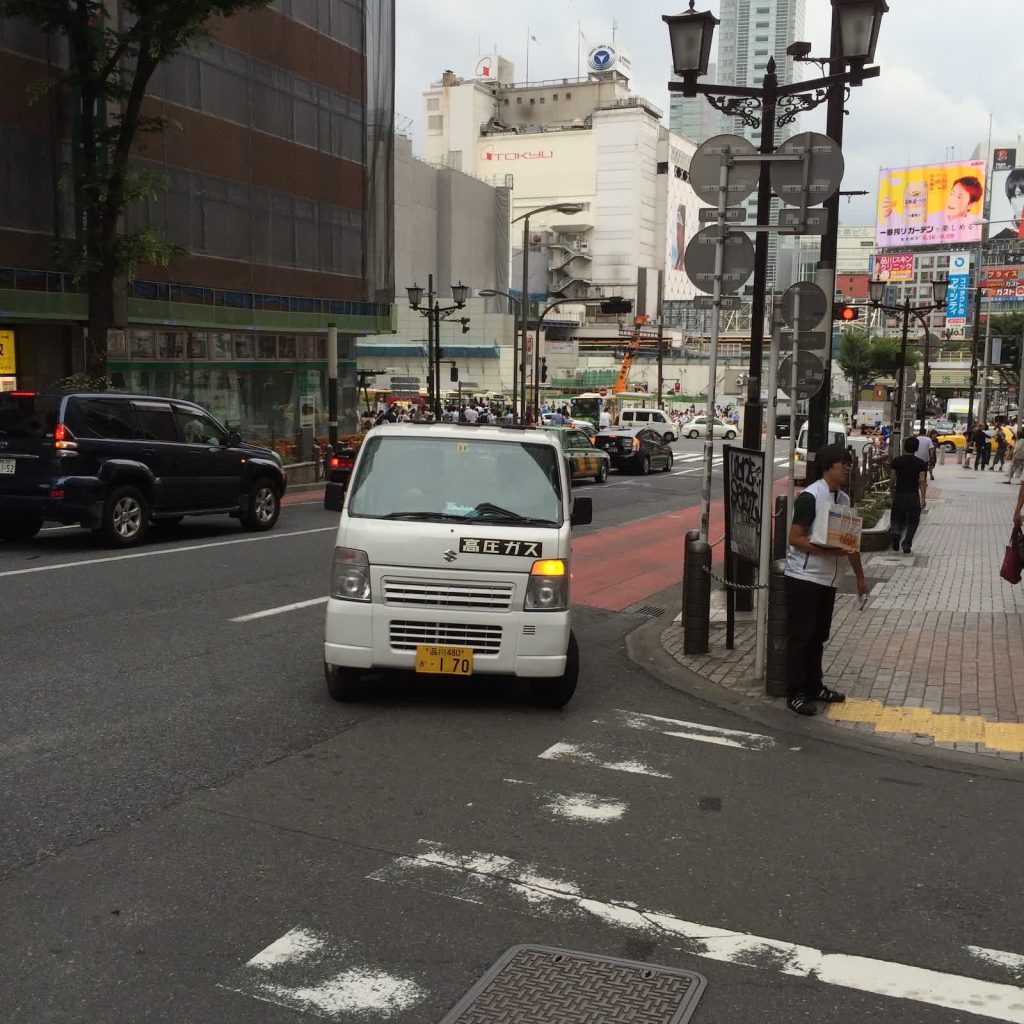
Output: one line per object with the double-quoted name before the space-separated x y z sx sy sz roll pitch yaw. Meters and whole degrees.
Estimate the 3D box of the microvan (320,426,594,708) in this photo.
"microvan" -0.407 0.374 8.176 1.108 1.582 2.304 1 -4 0

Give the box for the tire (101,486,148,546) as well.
"tire" -5.671 0.098 15.033 0.200 0.894 0.999 2 7 22

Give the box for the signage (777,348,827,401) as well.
"signage" 2.882 -1.371 10.366 0.546 0.774 0.090 0 -2 -9

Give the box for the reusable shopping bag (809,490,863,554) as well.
"reusable shopping bag" 2.348 0.096 7.512 0.406 0.420 0.223 -4 7 -27

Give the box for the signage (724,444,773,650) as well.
"signage" 2.136 0.371 9.698 0.351 1.929 2.077 1 7 12

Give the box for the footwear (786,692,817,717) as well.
"footwear" 2.140 1.443 7.719 0.095 0.137 0.261 -6 7 -22

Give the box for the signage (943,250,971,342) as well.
"signage" 53.713 -25.629 125.376 2.690 13.883 0.191 -2 -29 33

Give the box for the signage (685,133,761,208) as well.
"signage" 1.959 -3.150 9.583 0.637 0.693 0.473 1 6 14

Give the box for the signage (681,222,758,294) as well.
"signage" 1.941 -2.328 9.760 0.652 0.167 0.822 4 -35 10

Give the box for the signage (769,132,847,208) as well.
"signage" 2.681 -3.073 9.473 0.575 0.894 0.137 3 -24 20

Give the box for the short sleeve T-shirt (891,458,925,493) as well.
"short sleeve T-shirt" 6.557 -0.591 17.276 0.447 0.595 0.542 2 7 23

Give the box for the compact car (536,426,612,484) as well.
"compact car" 2.036 -1.576 31.504 1.232 1.727 3.113 2 9 28

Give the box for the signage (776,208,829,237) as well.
"signage" 2.658 -2.634 9.546 0.504 0.258 0.456 -1 7 -2

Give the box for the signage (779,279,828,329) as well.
"signage" 2.820 -1.982 10.062 0.372 0.516 0.092 0 24 2

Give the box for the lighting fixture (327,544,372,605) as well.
"lighting fixture" -1.118 0.455 7.109 0.262 0.361 0.328 4 12 0

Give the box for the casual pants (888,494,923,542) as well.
"casual pants" 6.613 0.165 17.535 0.417 0.951 0.977 2 7 21

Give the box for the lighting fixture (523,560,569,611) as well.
"lighting fixture" 0.217 0.486 7.113 0.260 0.371 0.303 1 4 5

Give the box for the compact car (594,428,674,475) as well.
"compact car" 4.672 -2.175 38.276 1.332 1.250 2.931 3 9 25
